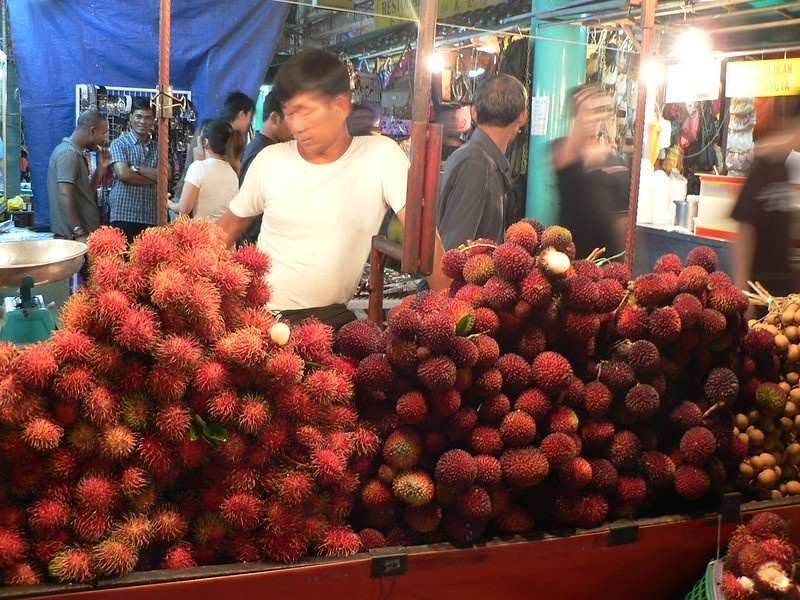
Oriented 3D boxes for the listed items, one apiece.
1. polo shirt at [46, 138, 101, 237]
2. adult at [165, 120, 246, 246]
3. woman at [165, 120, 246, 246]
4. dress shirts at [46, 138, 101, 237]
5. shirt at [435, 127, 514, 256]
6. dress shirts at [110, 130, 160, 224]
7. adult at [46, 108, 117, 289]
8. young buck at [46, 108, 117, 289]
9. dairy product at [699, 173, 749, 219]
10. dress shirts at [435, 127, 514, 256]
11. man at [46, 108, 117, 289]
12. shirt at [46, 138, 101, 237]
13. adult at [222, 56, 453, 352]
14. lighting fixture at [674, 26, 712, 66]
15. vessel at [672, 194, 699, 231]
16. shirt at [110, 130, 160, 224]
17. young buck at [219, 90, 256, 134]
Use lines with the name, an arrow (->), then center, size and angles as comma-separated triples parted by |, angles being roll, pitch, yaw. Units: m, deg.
polo shirt -> -1.963, -0.679, 3.918 | 0.325, 0.666, 0.544 | -6, 22, -26
adult -> -1.033, -0.597, 3.490 | 0.375, 0.695, 0.423 | 9, 17, 17
woman -> -1.055, -0.603, 3.503 | 0.391, 0.694, 0.468 | 8, 17, 4
dress shirts -> -1.963, -0.679, 3.918 | 0.325, 0.666, 0.544 | -6, 22, -26
shirt -> 0.322, -0.462, 2.965 | 0.297, 0.594, 0.623 | 5, 20, 10
dress shirts -> -1.660, -0.753, 4.136 | 0.182, 0.615, 0.317 | 19, 22, 39
adult -> -1.648, -0.572, 3.349 | 0.300, 0.975, 0.416 | -16, 60, -40
young buck -> -1.648, -0.572, 3.349 | 0.300, 0.975, 0.416 | -16, 60, -40
dairy product -> 1.970, -0.634, 4.019 | 0.150, 0.250, 0.433 | -2, 15, -6
dress shirts -> 0.334, -0.481, 2.944 | 0.271, 0.556, 0.567 | 4, 23, 12
man -> -1.648, -0.572, 3.349 | 0.300, 0.975, 0.416 | -16, 60, -40
shirt -> -2.019, -0.706, 4.045 | 0.277, 0.578, 0.440 | -1, 14, -28
adult -> -0.187, -0.352, 2.165 | 0.221, 0.679, 0.889 | 3, -14, 20
lighting fixture -> 1.760, -1.540, 3.933 | 0.241, 0.175, 1.121 | 6, 17, 22
vessel -> 1.916, -0.590, 4.500 | 0.191, 0.240, 0.264 | 1, 5, -1
shirt -> -1.664, -0.738, 4.150 | 0.180, 0.609, 0.325 | 11, 16, 36
young buck -> -0.954, -1.050, 3.811 | 0.184, 0.315, 0.167 | 2, -4, -30
